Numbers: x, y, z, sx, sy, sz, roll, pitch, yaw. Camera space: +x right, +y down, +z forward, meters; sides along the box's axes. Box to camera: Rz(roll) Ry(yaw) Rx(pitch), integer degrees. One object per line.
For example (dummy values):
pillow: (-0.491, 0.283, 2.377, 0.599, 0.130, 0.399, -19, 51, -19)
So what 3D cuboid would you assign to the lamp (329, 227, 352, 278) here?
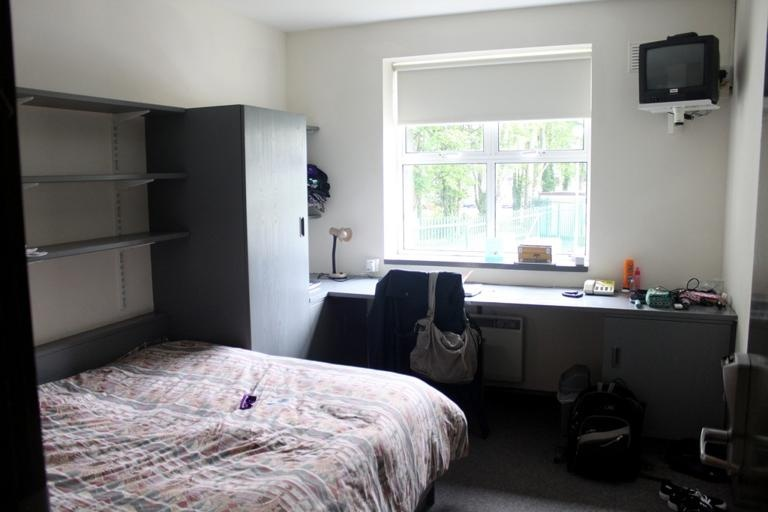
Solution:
lamp: (-0.375, -0.039, 4.519, 0.202, 0.428, 0.254, 0, 9, -6)

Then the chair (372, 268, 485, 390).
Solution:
chair: (0.276, 0.498, 3.506, 0.788, 0.763, 0.391, 4, 12, 18)

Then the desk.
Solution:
desk: (1.046, 0.719, 4.277, 3.128, 1.011, 1.005, -1, 9, 33)

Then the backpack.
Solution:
backpack: (1.340, 1.097, 3.329, 0.402, 0.530, 0.558, 1, -7, 27)
